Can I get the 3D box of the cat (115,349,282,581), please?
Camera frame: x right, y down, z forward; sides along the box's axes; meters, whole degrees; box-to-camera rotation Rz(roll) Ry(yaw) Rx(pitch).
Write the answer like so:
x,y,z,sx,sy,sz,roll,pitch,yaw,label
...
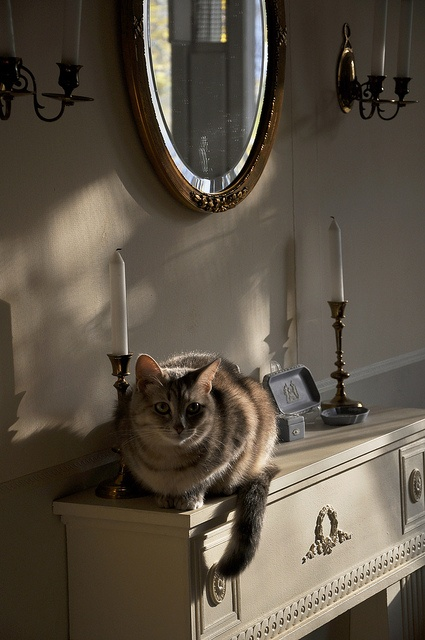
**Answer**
x,y,z,sx,sy,sz,roll,pitch,yaw,label
-0.009,0.216,1.056,0.215,0.187,0.388,4,4,10,cat
